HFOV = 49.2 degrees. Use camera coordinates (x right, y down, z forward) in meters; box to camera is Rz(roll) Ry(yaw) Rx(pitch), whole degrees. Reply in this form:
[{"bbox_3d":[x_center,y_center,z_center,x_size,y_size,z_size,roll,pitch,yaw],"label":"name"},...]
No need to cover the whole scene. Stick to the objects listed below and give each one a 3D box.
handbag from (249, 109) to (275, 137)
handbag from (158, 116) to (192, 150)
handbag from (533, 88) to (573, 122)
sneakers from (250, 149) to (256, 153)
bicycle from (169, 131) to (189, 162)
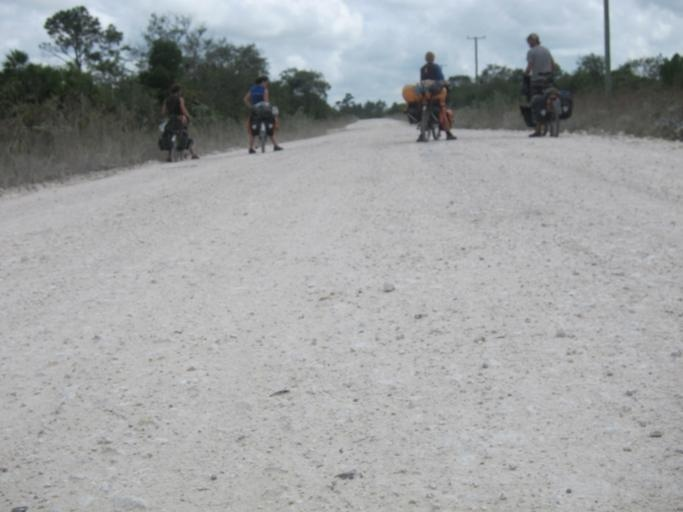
[{"bbox_3d":[-1.953,-3.311,18.420,0.618,0.710,0.324,-5,12,-9],"label":"handbag"},{"bbox_3d":[-3.824,-2.796,17.094,0.775,0.834,0.526,-2,17,-7],"label":"handbag"},{"bbox_3d":[4.885,-3.335,16.529,0.673,0.496,0.686,7,23,34],"label":"handbag"},{"bbox_3d":[-2.181,-2.538,18.152,0.123,0.083,0.121,-2,5,-11],"label":"sneakers"},{"bbox_3d":[-3.839,-2.494,17.459,0.460,0.681,0.265,-3,28,-6],"label":"bicycle"}]
